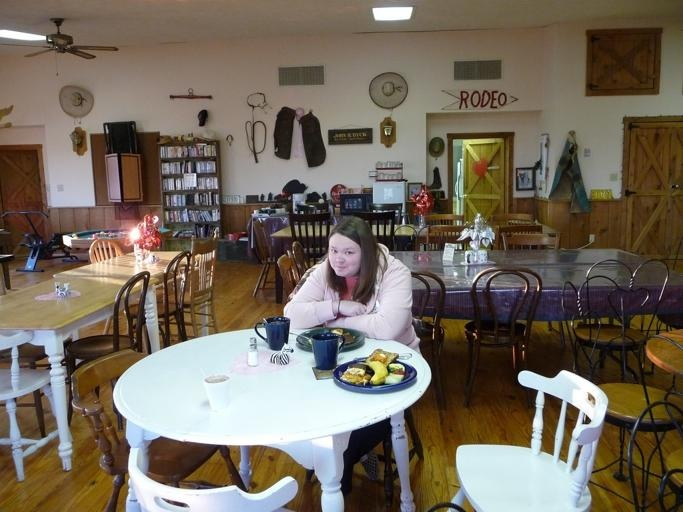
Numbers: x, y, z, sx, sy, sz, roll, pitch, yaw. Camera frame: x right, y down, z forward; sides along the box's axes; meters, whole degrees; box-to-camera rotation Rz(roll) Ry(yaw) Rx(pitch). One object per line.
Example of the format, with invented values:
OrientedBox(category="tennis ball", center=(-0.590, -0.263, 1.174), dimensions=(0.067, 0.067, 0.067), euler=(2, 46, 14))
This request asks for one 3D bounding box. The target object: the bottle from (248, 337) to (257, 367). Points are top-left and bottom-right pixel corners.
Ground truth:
OrientedBox(category="bottle", center=(-0.387, 0.404, 2.210), dimensions=(0.046, 0.114, 0.118), euler=(-5, 9, -12))

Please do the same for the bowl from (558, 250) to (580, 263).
OrientedBox(category="bowl", center=(1.912, 0.004, 4.338), dimensions=(0.196, 0.048, 0.132), euler=(1, 25, -10))

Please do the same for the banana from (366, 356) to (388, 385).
OrientedBox(category="banana", center=(0.142, 0.445, 2.016), dimensions=(0.060, 0.036, 0.120), euler=(0, 13, 2))

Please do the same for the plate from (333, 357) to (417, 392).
OrientedBox(category="plate", center=(0.131, 0.484, 2.040), dimensions=(0.330, 0.071, 0.187), euler=(-2, 9, 9))

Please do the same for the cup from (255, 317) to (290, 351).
OrientedBox(category="cup", center=(-0.334, 0.350, 2.325), dimensions=(0.176, 0.135, 0.123), euler=(0, 6, 9))

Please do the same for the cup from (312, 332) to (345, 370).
OrientedBox(category="cup", center=(-0.056, 0.393, 2.170), dimensions=(0.127, 0.140, 0.165), euler=(-3, 9, -1))

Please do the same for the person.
OrientedBox(category="person", center=(0.037, 0.505, 2.588), dimensions=(0.671, 1.371, 0.694), euler=(-1, 9, 11))

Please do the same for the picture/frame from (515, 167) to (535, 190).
OrientedBox(category="picture/frame", center=(3.249, -1.396, 9.060), dimensions=(0.366, 0.492, 0.034), euler=(0, 4, 5))
